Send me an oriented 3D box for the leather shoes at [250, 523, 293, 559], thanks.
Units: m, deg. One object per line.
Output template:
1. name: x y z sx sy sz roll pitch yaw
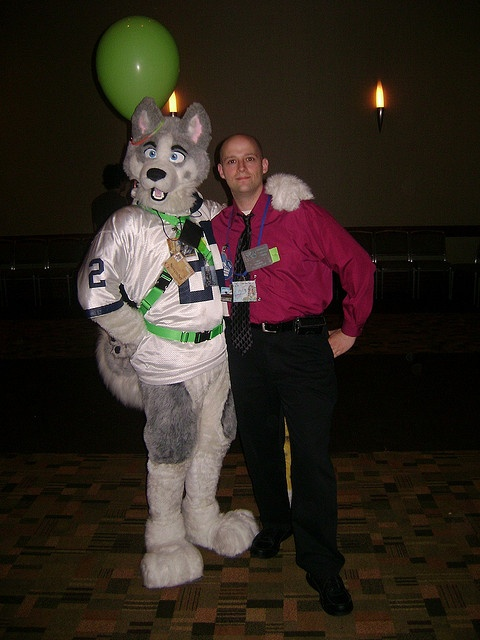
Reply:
1. leather shoes: 0.106 0.770 1.644 0.058 0.062 0.157 0 -7 31

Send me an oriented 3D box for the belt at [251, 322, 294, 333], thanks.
1. belt: 0.090 0.021 1.394 0.126 0.037 0.024 2 9 22

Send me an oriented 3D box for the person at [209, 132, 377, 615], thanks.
1. person: 0.139 0.130 1.485 0.532 1.405 0.282 5 11 37

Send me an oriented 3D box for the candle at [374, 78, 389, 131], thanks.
1. candle: 2.081 -3.185 7.006 0.146 0.714 0.149 -2 8 -5

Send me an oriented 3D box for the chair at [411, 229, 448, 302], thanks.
1. chair: 2.798 -0.856 6.971 0.564 0.955 1.298 2 9 21

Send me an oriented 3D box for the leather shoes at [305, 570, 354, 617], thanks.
1. leather shoes: 0.264 0.796 1.399 0.127 0.092 0.134 -1 9 5
